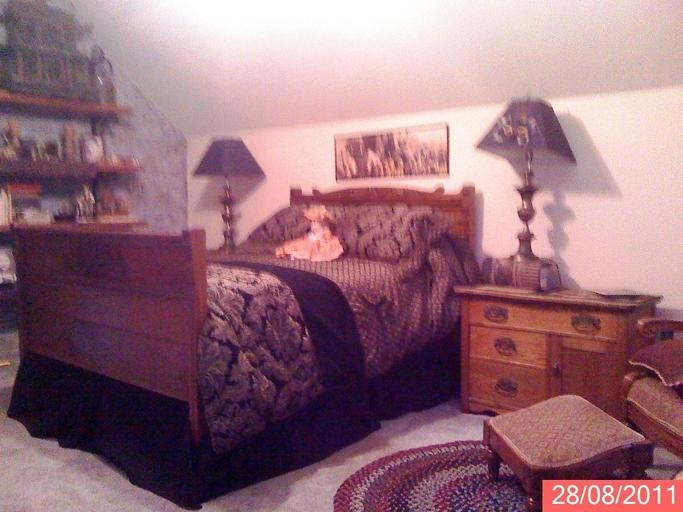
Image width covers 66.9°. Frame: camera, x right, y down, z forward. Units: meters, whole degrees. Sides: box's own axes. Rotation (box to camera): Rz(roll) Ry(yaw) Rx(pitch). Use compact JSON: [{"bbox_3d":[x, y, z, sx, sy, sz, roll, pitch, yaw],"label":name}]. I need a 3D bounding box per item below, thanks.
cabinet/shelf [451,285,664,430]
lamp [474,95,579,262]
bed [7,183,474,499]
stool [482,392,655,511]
[{"bbox_3d":[1.181,0.569,2.953,0.901,0.732,0.538,3,7,32],"label":"cabinet/shelf"},{"bbox_3d":[1.155,-0.438,3.178,0.585,0.905,0.657,1,6,-11],"label":"lamp"},{"bbox_3d":[-0.335,0.412,2.950,1.424,1.105,1.896,2,3,42],"label":"bed"},{"bbox_3d":[0.889,0.739,2.142,0.513,0.293,0.423,-4,7,-24],"label":"stool"}]
